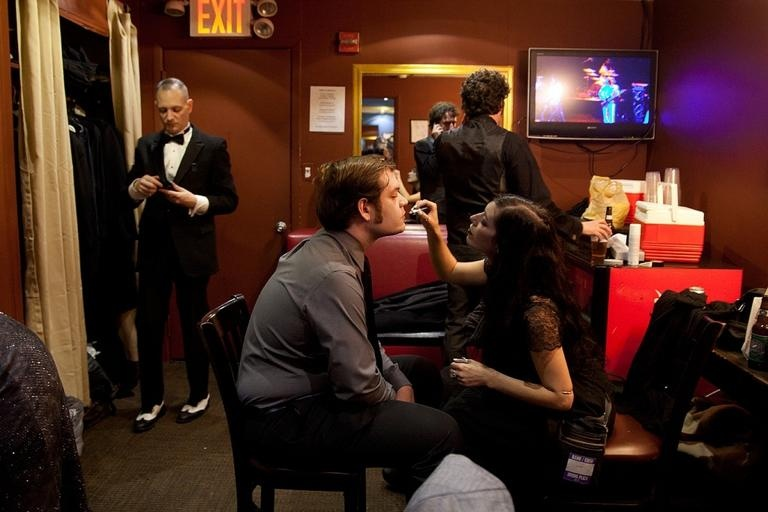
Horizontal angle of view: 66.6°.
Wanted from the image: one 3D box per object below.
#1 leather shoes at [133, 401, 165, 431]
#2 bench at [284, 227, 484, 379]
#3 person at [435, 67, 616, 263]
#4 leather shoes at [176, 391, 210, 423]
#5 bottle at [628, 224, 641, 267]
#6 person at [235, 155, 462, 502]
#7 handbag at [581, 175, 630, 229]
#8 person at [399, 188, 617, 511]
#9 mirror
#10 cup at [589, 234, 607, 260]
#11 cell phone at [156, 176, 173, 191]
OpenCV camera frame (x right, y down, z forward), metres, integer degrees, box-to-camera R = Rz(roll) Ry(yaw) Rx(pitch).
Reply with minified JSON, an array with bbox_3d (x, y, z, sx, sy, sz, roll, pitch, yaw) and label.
[{"bbox_3d":[-1.516,1.013,3.759,0.111,0.110,0.254,2,15,5],"label":"leather shoes"},{"bbox_3d":[0.063,0.254,3.981,0.946,1.349,1.111,0,-1,-4],"label":"bench"},{"bbox_3d":[0.934,-0.638,3.792,0.622,1.589,1.006,-30,35,-31],"label":"person"},{"bbox_3d":[-1.246,1.004,3.814,0.086,0.101,0.240,0,2,18],"label":"leather shoes"},{"bbox_3d":[1.380,-0.074,3.213,0.070,0.229,0.190,7,16,23],"label":"bottle"},{"bbox_3d":[-0.131,0.389,2.635,0.982,1.596,0.782,1,5,-11],"label":"person"},{"bbox_3d":[1.594,-0.359,4.219,0.260,0.375,0.368,3,7,-42],"label":"handbag"},{"bbox_3d":[0.523,0.243,3.104,1.179,1.954,0.889,3,11,18],"label":"person"},{"bbox_3d":[0.428,-1.221,4.988,1.420,0.828,0.063,-3,22,-8],"label":"mirror"},{"bbox_3d":[1.182,-0.041,3.218,0.105,0.118,0.110,2,-8,0],"label":"cup"},{"bbox_3d":[-1.378,-0.456,3.678,0.086,0.099,0.110,1,-10,-12],"label":"cell phone"}]
